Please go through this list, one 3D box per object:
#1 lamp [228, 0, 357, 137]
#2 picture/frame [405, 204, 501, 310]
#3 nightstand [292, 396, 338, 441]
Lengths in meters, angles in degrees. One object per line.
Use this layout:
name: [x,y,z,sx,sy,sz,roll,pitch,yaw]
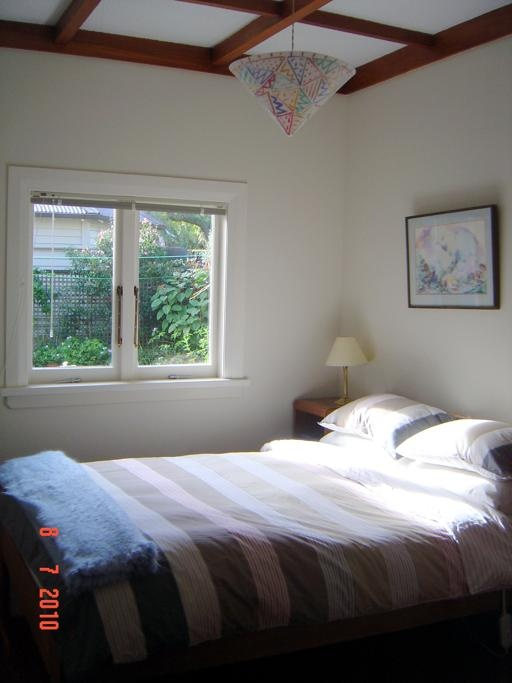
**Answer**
lamp: [0.111,-0.894,1.914,0.312,0.329,0.299,-2,4,-28]
picture/frame: [1.013,-0.426,2.905,0.030,0.495,0.619,-6,7,-25]
nightstand: [0.325,0.499,3.814,0.388,0.351,0.307,-6,-13,35]
